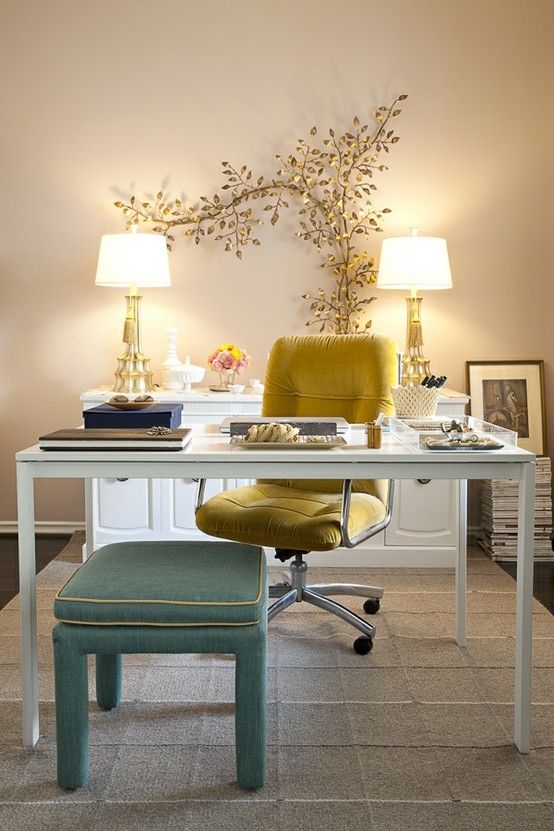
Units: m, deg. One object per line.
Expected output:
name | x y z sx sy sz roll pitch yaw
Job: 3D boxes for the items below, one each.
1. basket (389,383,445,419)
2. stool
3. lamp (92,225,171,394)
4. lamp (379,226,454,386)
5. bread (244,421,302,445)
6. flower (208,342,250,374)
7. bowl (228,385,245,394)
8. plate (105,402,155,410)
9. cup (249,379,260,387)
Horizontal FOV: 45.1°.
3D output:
basket | 0.401 -0.034 1.896 0.103 0.070 0.106 2 -5 -31
stool | -0.217 0.502 1.467 0.406 0.387 0.470 -1 -2 0
lamp | -0.654 -0.494 3.082 0.308 0.820 0.510 -1 2 -9
lamp | 0.619 -0.510 3.047 0.305 0.724 0.493 0 2 9
bread | -0.015 0.043 1.514 0.078 0.035 0.061 -7 5 -12
flower | -0.223 -0.263 3.102 0.131 0.130 0.150 -8 4 -14
bowl | -0.180 -0.122 3.070 0.045 0.025 0.053 2 9 8
plate | -0.373 -0.024 1.707 0.099 0.021 0.090 -1 2 -17
cup | -0.100 -0.158 3.160 0.043 0.050 0.041 -8 5 1
